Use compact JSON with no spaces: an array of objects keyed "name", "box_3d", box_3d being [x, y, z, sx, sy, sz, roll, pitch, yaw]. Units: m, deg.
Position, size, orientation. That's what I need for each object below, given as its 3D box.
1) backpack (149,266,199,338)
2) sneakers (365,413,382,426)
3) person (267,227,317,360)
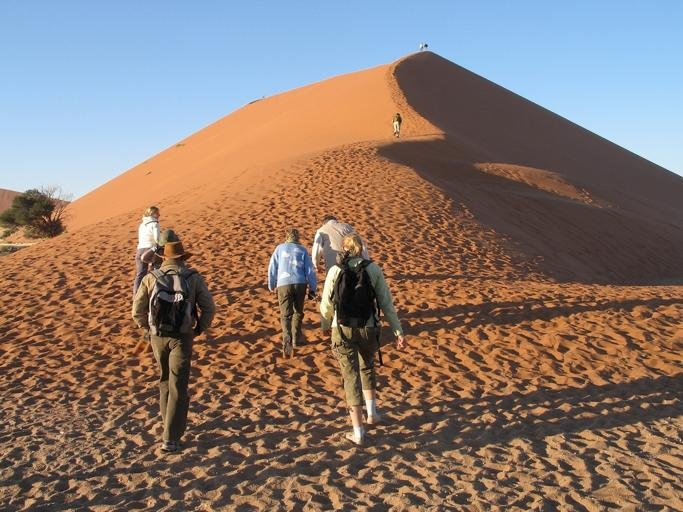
[{"name":"backpack","box_3d":[-1.963,0.522,7.089,0.419,0.756,0.515,-5,19,17]},{"name":"sneakers","box_3d":[0.405,2.040,7.683,0.127,0.152,0.287,2,7,12]},{"name":"person","box_3d":[-0.728,0.543,9.219,0.784,1.896,0.638,-14,20,-5]}]
